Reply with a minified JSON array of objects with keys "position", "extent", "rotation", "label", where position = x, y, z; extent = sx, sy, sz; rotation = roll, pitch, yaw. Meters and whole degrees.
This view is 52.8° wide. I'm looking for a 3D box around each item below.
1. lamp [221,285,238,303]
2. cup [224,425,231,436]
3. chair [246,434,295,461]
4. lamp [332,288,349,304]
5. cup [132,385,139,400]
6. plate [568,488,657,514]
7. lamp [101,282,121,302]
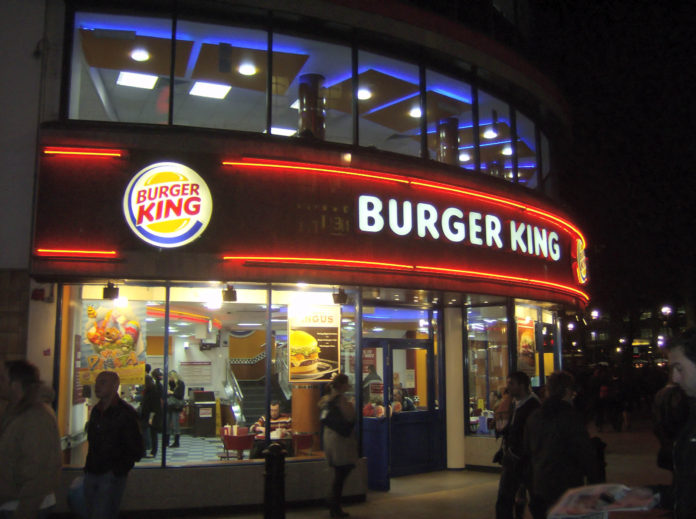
[{"position":[-1.991,0.564,11.685],"extent":[0.218,0.255,0.429],"rotation":[-2,-7,-11],"label":"lamp"},{"position":[-2.100,2.965,12.152],"extent":[0.136,0.154,0.136],"rotation":[1,0,0],"label":"cup"},{"position":[-1.267,3.015,11.261],"extent":[0.719,0.472,0.385],"rotation":[2,-14,-10],"label":"chair"},{"position":[-0.123,0.656,12.192],"extent":[0.313,0.307,0.244],"rotation":[-1,-8,14],"label":"lamp"},{"position":[-3.554,2.226,11.767],"extent":[0.181,0.234,0.083],"rotation":[-1,-3,31],"label":"cup"},{"position":[2.219,2.010,5.880],"extent":[0.397,0.091,0.336],"rotation":[-5,-3,12],"label":"plate"},{"position":[-3.745,0.490,11.052],"extent":[0.219,0.262,0.287],"rotation":[-1,-7,-21],"label":"lamp"}]
